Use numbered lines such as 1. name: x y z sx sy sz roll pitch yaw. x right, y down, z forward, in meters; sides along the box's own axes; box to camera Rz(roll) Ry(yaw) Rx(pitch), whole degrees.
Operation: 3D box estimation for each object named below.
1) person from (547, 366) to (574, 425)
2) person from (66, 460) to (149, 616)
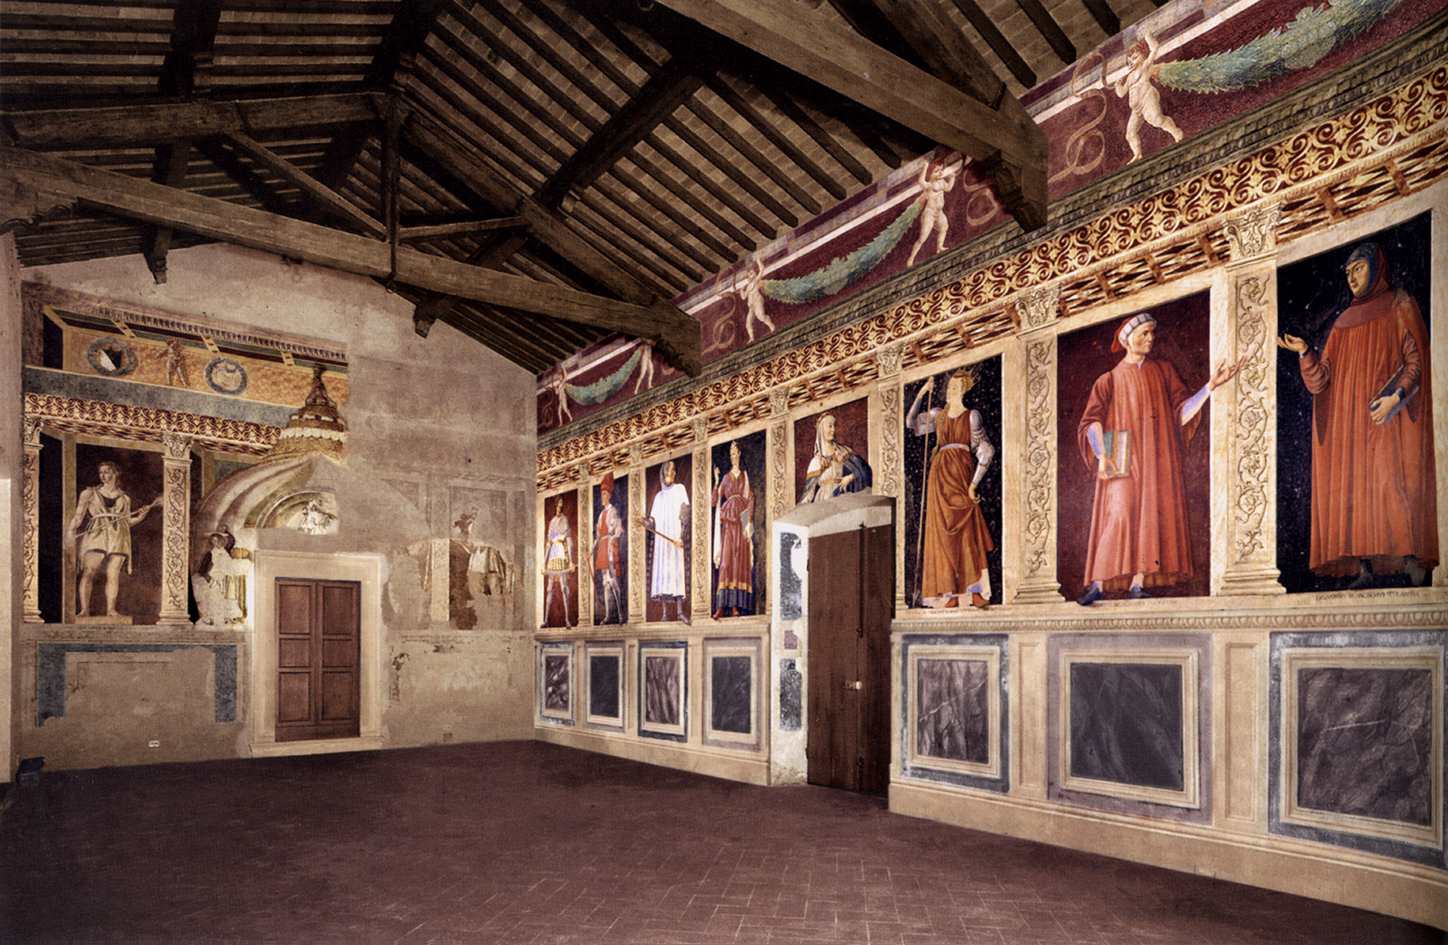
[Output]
1. person: -2.525 -1.209 20.098 0.152 0.900 0.315 2 -20 -34
2. person: -8.237 0.879 17.277 0.761 2.046 0.288 -2 3 -33
